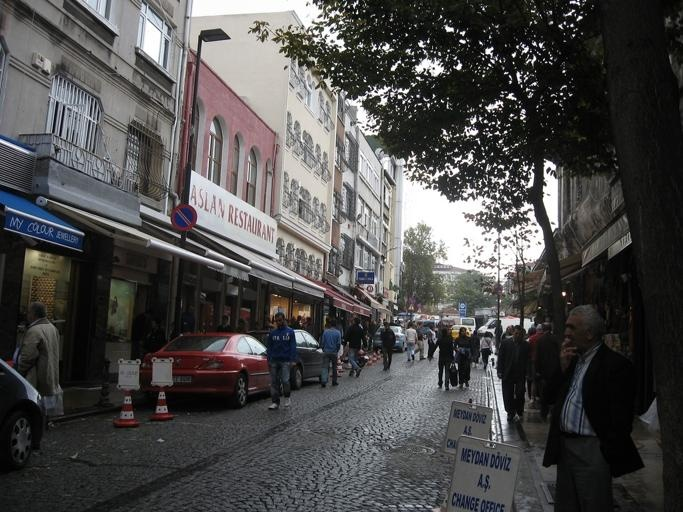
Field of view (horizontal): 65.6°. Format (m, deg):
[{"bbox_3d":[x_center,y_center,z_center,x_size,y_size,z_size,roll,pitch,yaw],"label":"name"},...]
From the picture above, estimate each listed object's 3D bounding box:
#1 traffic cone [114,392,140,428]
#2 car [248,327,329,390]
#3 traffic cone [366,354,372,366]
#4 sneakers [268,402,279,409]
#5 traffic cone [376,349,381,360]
[{"bbox_3d":[-3.858,2.769,9.553,0.431,0.614,0.596,6,-12,-23],"label":"traffic cone"},{"bbox_3d":[-1.427,3.188,16.613,1.265,1.310,3.008,-2,-5,23],"label":"car"},{"bbox_3d":[1.305,5.200,26.249,0.350,0.476,0.391,1,-8,-1],"label":"traffic cone"},{"bbox_3d":[-1.531,3.432,12.023,0.102,0.135,0.292,-2,-18,14],"label":"sneakers"},{"bbox_3d":[2.194,6.011,31.857,0.374,0.465,0.950,2,-2,4],"label":"traffic cone"}]
